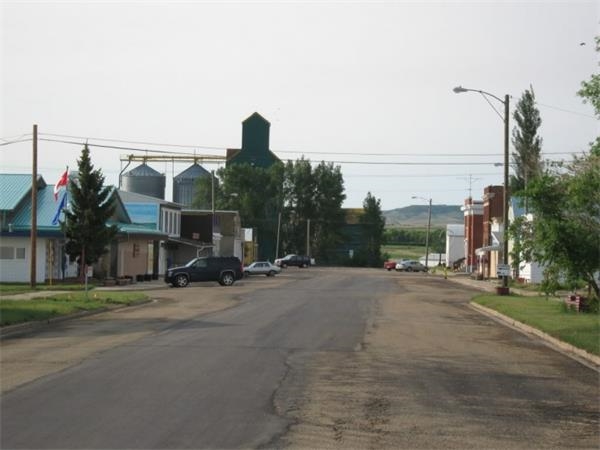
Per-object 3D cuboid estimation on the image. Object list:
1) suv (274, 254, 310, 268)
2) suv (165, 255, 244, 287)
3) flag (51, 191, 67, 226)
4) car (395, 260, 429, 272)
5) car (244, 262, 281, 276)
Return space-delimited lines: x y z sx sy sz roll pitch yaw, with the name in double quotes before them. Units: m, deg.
"suv" -0.826 4.985 87.942 3.351 1.944 7.624 -2 -6 13
"suv" -6.091 3.024 40.930 4.856 1.932 0.812 2 -5 -30
"flag" -14.907 -1.092 38.989 0.780 2.211 2.999 1 -5 -22
"car" 13.878 5.266 79.890 3.139 1.260 1.572 -2 -2 -2
"car" -3.590 4.173 58.892 2.992 1.198 1.413 4 -6 -14
